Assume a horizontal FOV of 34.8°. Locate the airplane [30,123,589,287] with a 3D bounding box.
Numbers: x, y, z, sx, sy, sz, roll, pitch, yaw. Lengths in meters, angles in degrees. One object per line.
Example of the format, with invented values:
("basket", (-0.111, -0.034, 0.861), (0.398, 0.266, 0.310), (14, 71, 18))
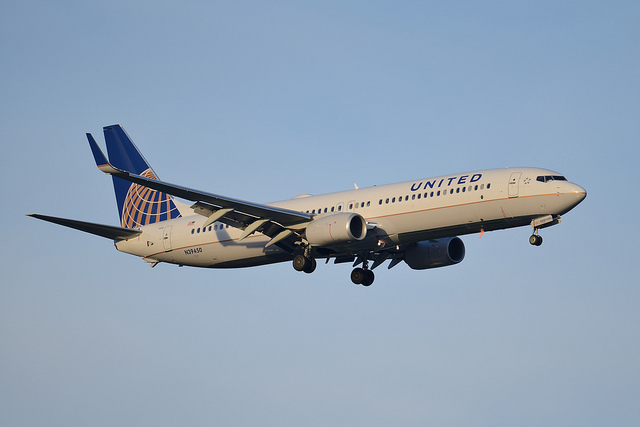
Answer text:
("airplane", (0.056, -0.069, 47.717), (21.434, 6.635, 6.537), (-1, -44, 4))
